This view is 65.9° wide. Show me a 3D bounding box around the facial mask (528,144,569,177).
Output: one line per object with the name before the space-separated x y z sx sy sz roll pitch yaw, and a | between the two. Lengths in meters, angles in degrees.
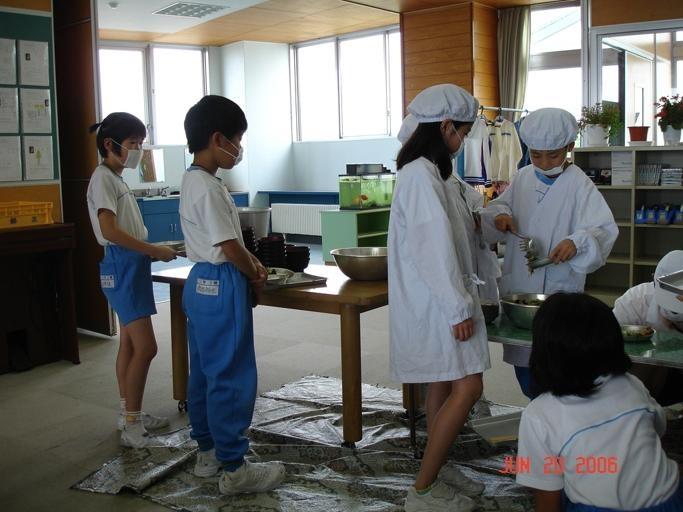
facial mask | 1.055 -0.531 2.709 0.143 0.172 0.140 10 44 19

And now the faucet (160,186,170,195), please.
faucet | -3.409 -1.281 10.223 0.169 0.166 0.172 3 1 18

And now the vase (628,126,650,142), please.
vase | 3.061 -1.265 5.426 0.162 0.120 0.166 -1 -1 1

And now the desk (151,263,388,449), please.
desk | -0.353 0.573 3.451 1.552 0.891 0.869 2 5 25

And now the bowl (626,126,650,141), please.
bowl | 3.060 -1.269 5.471 0.157 0.115 0.161 -1 -1 0

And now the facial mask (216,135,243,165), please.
facial mask | -0.525 -0.508 2.512 0.116 0.073 0.120 -15 21 -13

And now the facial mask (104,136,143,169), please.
facial mask | -1.314 -0.624 3.188 0.199 0.147 0.188 3 8 9

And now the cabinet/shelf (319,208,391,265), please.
cabinet/shelf | 0.207 -0.319 7.588 0.655 0.943 1.319 1 6 20

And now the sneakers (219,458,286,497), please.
sneakers | -0.431 1.061 2.596 0.308 0.147 0.142 -10 17 -23

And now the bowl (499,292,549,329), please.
bowl | 0.787 0.227 2.277 0.195 0.085 0.178 -2 6 0

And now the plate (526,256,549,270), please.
plate | 0.958 0.032 2.553 0.108 0.065 0.046 -2 0 -13

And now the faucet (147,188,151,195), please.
faucet | -3.657 -1.235 10.029 0.060 0.108 0.108 0 -2 -13

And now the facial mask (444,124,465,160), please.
facial mask | 0.464 -0.494 2.284 0.097 0.133 0.116 0 15 4

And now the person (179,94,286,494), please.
person | -0.546 0.192 2.508 0.465 1.888 0.330 -3 7 -10

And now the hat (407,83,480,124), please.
hat | 0.443 -0.626 2.245 0.219 0.102 0.183 -5 8 -28

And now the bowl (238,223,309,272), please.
bowl | -0.440 -0.064 3.244 0.363 0.161 0.250 6 10 26

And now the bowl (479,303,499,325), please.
bowl | 0.652 0.254 2.341 0.090 0.074 0.086 -2 4 0
